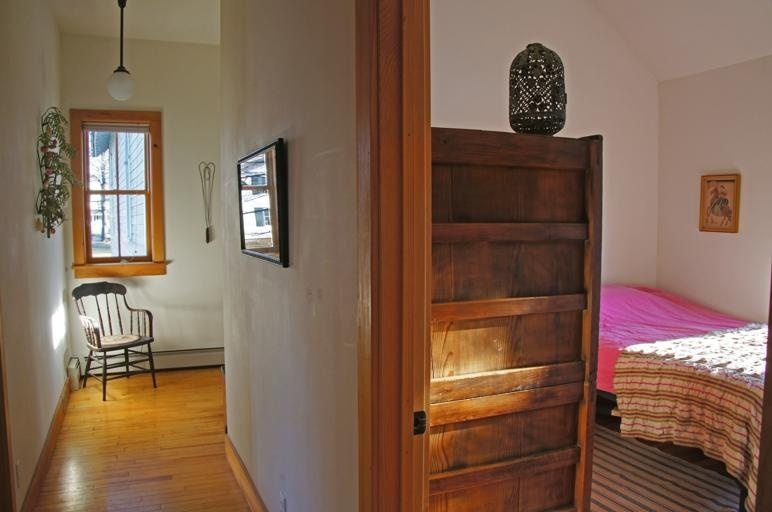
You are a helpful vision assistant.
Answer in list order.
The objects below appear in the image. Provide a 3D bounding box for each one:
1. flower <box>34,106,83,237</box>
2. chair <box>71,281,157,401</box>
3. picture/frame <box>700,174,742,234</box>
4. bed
[{"bbox_3d":[-2.805,-0.694,4.794,0.326,1.147,0.812,-7,13,-28],"label":"flower"},{"bbox_3d":[-2.888,0.836,6.068,0.779,1.078,0.790,-7,13,-29],"label":"chair"},{"bbox_3d":[3.406,-0.540,5.767,0.053,0.598,0.459,-6,13,-25],"label":"picture/frame"},{"bbox_3d":[2.677,1.155,5.377,1.441,0.581,1.333,-4,6,-30],"label":"bed"}]
